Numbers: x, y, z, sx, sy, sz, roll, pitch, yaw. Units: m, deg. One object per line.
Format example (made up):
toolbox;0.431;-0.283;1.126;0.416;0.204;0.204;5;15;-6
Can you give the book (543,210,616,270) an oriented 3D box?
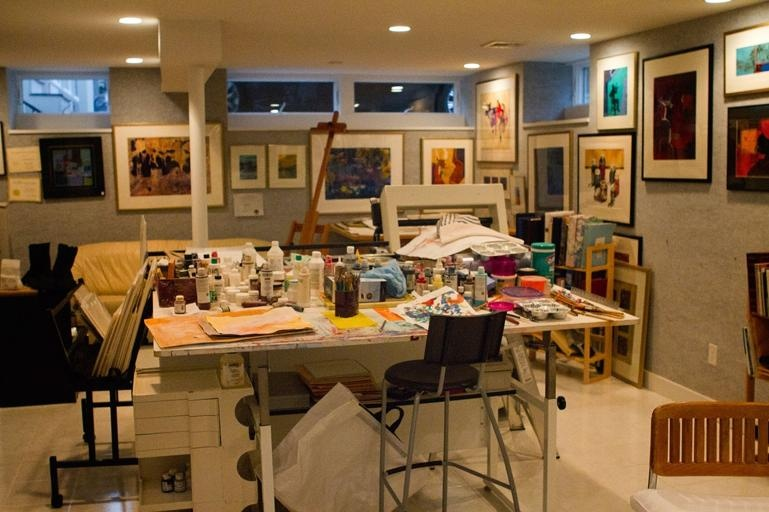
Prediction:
book;1.940;-0.156;6.185;0.681;0.546;0.441;2;9;22

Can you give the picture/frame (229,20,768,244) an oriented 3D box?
picture/frame;0.909;-1.252;6.946;5.859;2.056;2.898;5;10;37

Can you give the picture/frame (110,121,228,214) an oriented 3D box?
picture/frame;-2.671;-1.107;7.436;1.382;1.025;0.059;-1;4;-22

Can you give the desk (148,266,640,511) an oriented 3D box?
desk;0.043;1.307;4.484;3.230;1.471;1.545;-2;10;-13

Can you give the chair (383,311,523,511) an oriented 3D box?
chair;0.420;1.040;3.944;0.870;1.508;0.723;0;8;10

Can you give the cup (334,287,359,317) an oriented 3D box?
cup;-0.242;0.300;3.951;0.162;0.157;0.160;1;0;0

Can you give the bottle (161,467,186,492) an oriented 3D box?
bottle;-1.379;1.492;4.084;0.186;0.127;0.110;2;3;4

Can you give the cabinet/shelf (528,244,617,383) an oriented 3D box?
cabinet/shelf;1.630;0.473;5.206;0.426;1.279;1.372;-1;2;-16
